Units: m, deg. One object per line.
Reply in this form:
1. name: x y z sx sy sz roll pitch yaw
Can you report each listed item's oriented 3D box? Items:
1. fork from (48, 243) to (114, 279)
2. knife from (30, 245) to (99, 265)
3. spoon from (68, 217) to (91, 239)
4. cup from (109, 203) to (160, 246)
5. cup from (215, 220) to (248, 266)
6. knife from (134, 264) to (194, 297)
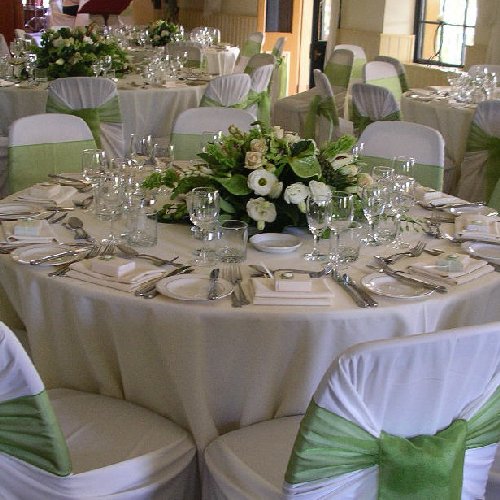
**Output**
1. fork: -0.515 0.011 1.359 0.070 0.011 0.251 10 21 14
2. knife: -0.580 -0.003 1.427 0.014 0.056 0.274 47 25 9
3. spoon: -0.625 -0.103 1.614 0.062 0.027 0.162 -7 29 -28
4. cup: -0.394 -0.101 1.564 0.180 0.159 0.147 -6 23 -21
5. cup: -0.056 -0.027 1.423 0.124 0.110 0.121 0 11 0
6. knife: -0.243 0.084 1.239 0.054 0.014 0.203 14 26 31
